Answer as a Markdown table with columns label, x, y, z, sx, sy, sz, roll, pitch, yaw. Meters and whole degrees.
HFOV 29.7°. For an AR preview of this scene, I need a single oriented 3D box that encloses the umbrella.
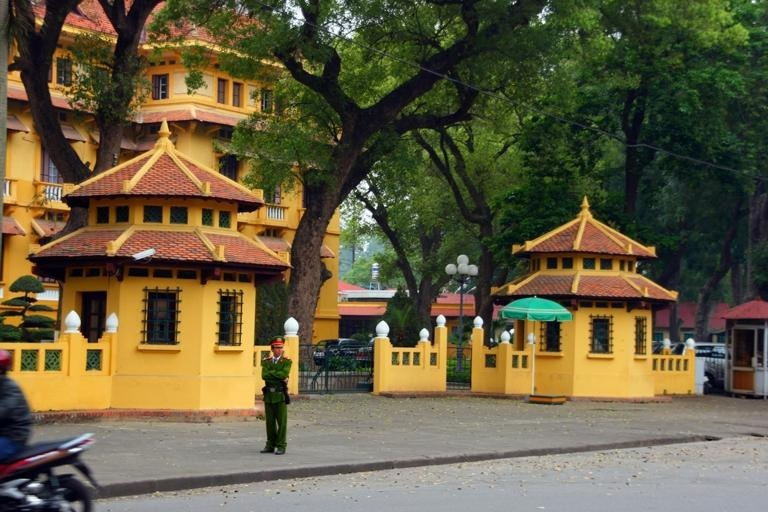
| label | x | y | z | sx | sy | sz | roll | pitch | yaw |
| --- | --- | --- | --- | --- | --- | --- | --- | --- | --- |
| umbrella | 5.898 | 3.432 | 56.969 | 2.838 | 3.990 | 2.377 | 2 | -2 | -2 |

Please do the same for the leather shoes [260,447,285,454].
| label | x | y | z | sx | sy | sz | roll | pitch | yaw |
| --- | --- | --- | --- | --- | --- | --- | --- | --- | --- |
| leather shoes | -3.406 | 5.938 | 44.146 | 0.732 | 0.185 | 0.249 | -2 | -10 | 20 |

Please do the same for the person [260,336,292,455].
| label | x | y | z | sx | sy | sz | roll | pitch | yaw |
| --- | --- | --- | --- | --- | --- | --- | --- | --- | --- |
| person | -3.318 | 4.350 | 44.752 | 1.325 | 3.050 | 1.137 | 0 | -2 | -1 |

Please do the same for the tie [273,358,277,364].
| label | x | y | z | sx | sy | sz | roll | pitch | yaw |
| --- | --- | --- | --- | --- | --- | --- | --- | --- | --- |
| tie | -3.362 | 3.246 | 44.586 | 0.131 | 0.151 | 0.038 | 1 | -5 | 0 |
